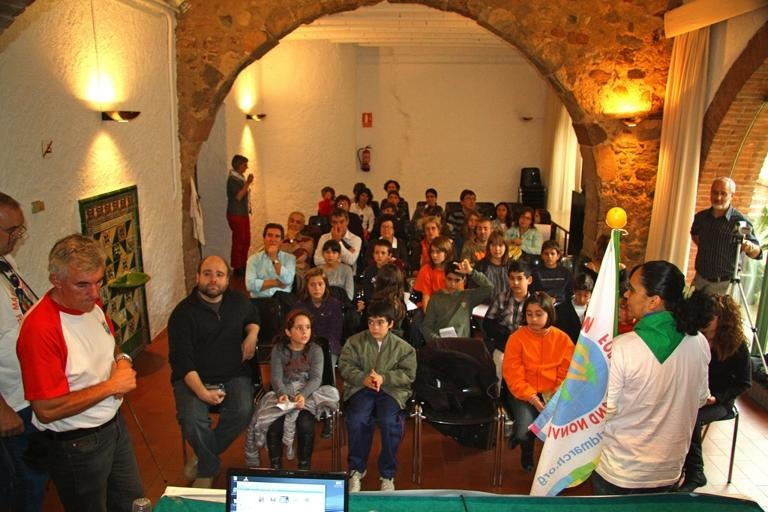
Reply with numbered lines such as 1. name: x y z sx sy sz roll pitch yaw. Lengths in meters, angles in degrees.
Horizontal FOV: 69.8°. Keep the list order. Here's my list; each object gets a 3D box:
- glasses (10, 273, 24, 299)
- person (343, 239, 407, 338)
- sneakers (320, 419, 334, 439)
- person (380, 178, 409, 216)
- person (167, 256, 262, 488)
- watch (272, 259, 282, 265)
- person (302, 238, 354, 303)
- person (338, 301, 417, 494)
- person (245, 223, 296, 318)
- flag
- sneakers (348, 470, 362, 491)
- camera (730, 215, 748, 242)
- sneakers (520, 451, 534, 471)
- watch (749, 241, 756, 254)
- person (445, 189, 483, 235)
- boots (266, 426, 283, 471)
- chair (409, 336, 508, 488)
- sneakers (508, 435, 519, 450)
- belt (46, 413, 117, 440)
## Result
1. glasses: -2.285 0.186 3.437 0.037 0.148 0.090 -11 3 21
2. person: -0.076 0.368 5.468 0.528 1.015 0.554 5 15 30
3. sneakers: -0.443 1.366 4.333 0.089 0.173 0.105 6 -25 -3
4. person: 0.147 -0.930 9.356 0.542 0.749 0.361 -4 -9 3
5. person: -1.321 0.884 4.306 0.687 1.769 0.456 0 2 -20
6. watch: -1.130 0.058 5.767 0.087 0.055 0.092 1 1 -16
7. person: -0.572 0.183 5.836 0.456 0.718 0.440 5 21 10
8. person: -0.048 1.084 4.356 0.632 1.443 0.458 1 1 -5
9. person: -1.224 0.366 5.992 0.475 1.415 0.420 1 24 -5
10. flag: 1.066 0.597 3.104 0.455 1.483 0.271 1 2 8
11. sneakers: -0.218 1.723 4.231 0.068 0.163 0.189 1 1 11
12. camera: 3.448 -0.265 5.341 0.139 0.270 0.381 2 1 32
13. sneakers: 1.149 1.635 4.428 0.080 0.074 0.176 -1 28 0
14. watch: 3.491 -0.078 5.221 0.033 0.095 0.082 -9 -30 38
15. person: 1.262 -0.538 8.694 0.567 1.034 0.515 2 -3 -9
16. boots: -0.847 1.473 4.256 0.120 0.383 0.224 1 1 -9
17. chair: 0.590 1.212 4.496 0.904 1.321 0.956 0 4 2
18. sneakers: 1.021 1.468 4.343 0.088 0.126 0.126 1 1 13
19. belt: -1.806 1.009 3.246 0.201 0.051 0.205 2 8 10
